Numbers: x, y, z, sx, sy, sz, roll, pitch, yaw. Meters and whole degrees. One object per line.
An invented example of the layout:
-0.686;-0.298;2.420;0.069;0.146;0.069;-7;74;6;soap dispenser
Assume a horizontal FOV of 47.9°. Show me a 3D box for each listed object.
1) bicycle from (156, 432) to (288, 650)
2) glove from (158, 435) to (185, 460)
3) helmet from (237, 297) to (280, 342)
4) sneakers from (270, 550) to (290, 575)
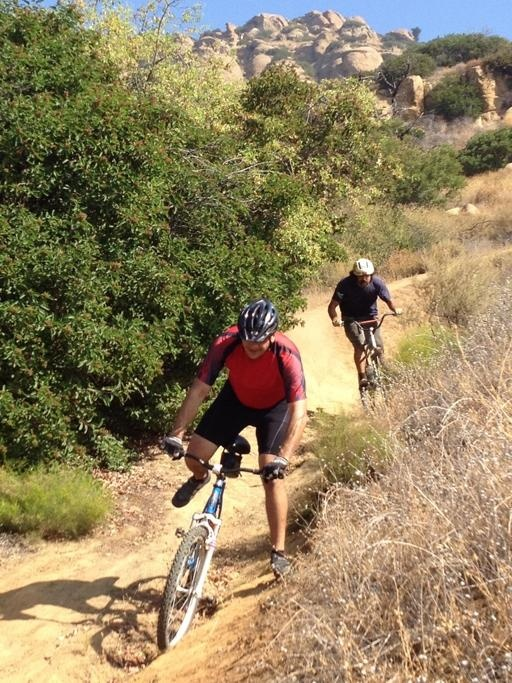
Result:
-0.236;1.265;3.643;0.709;1.409;0.900;0;7;-2;bicycle
-0.526;0.627;3.479;0.075;0.161;0.115;-41;-12;1;glove
0.011;-0.128;3.515;0.240;0.246;0.287;-1;7;-9;helmet
0.150;1.378;3.600;0.089;0.114;0.169;-5;-41;-1;sneakers
